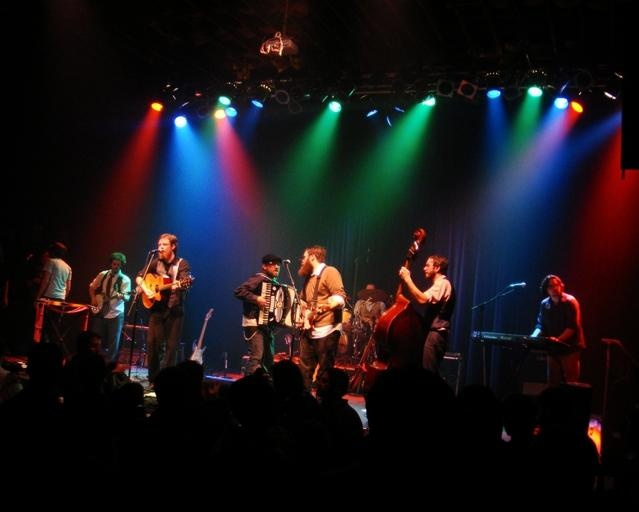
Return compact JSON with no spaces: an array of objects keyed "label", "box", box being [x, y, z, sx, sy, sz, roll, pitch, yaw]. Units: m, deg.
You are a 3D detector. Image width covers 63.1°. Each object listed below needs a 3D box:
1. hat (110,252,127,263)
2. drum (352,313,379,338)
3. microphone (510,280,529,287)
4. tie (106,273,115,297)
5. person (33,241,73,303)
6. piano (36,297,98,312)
[{"label":"hat","box":[-3.819,0.030,9.816,0.190,0.220,0.237,6,-6,-20]},{"label":"drum","box":[0.859,1.335,9.841,0.304,0.205,0.498,3,-4,-36]},{"label":"microphone","box":[3.540,0.509,9.245,0.435,0.129,0.215,1,-1,-29]},{"label":"tie","box":[-3.723,0.514,9.252,0.163,0.458,0.062,0,-2,12]},{"label":"person","box":[-4.662,0.309,9.111,0.508,0.929,1.090,-3,13,-27]},{"label":"piano","box":[-4.345,0.851,8.866,0.789,0.334,0.432,1,12,-10]}]
